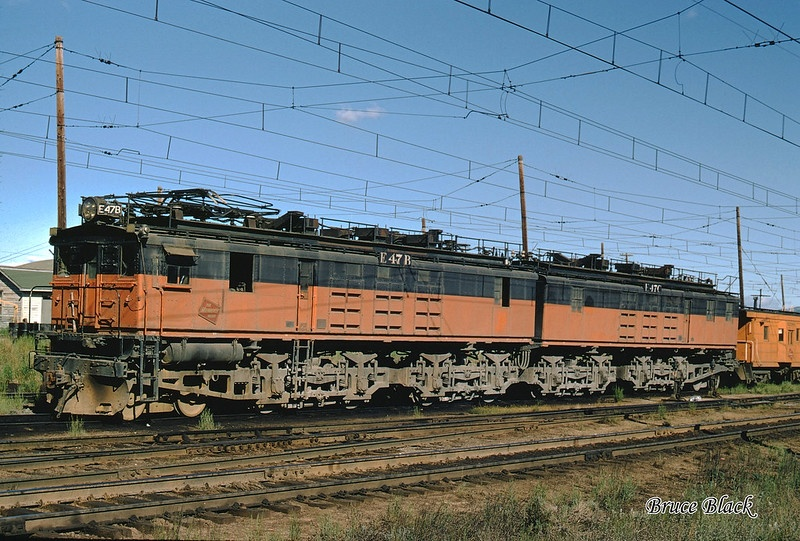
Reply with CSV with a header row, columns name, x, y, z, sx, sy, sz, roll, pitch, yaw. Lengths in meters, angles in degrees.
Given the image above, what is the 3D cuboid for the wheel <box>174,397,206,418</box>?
name,x,y,z,sx,sy,sz,roll,pitch,yaw
wheel,-6.464,4.262,27.133,0.964,0.739,0.605,1,8,-19
